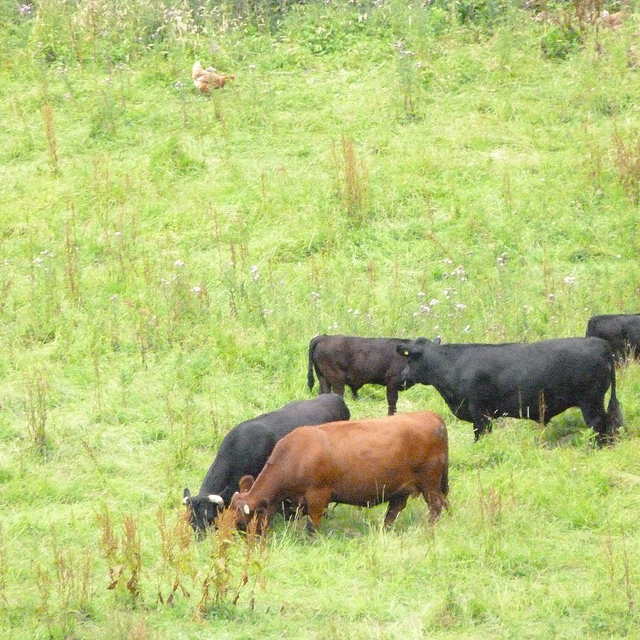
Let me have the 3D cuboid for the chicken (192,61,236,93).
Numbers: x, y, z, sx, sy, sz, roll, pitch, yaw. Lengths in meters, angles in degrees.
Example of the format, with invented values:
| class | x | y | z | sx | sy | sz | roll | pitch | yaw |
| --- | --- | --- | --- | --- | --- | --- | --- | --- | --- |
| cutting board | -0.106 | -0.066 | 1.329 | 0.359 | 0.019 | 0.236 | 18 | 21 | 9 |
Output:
| class | x | y | z | sx | sy | sz | roll | pitch | yaw |
| --- | --- | --- | --- | --- | --- | --- | --- | --- | --- |
| chicken | -1.446 | -3.214 | 18.847 | 0.633 | 0.554 | 0.222 | -3 | 12 | -34 |

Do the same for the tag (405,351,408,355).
| class | x | y | z | sx | sy | sz | roll | pitch | yaw |
| --- | --- | --- | --- | --- | --- | --- | --- | --- | --- |
| tag | 0.764 | 0.299 | 12.555 | 0.025 | 0.029 | 0.008 | 3 | 13 | 26 |

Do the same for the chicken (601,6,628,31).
| class | x | y | z | sx | sy | sz | roll | pitch | yaw |
| --- | --- | --- | --- | --- | --- | --- | --- | --- | --- |
| chicken | 4.256 | -4.346 | 20.439 | 0.346 | 0.245 | 0.530 | 2 | 15 | 23 |

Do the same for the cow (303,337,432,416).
| class | x | y | z | sx | sy | sz | roll | pitch | yaw |
| --- | --- | --- | --- | --- | --- | --- | --- | --- | --- |
| cow | 0.412 | 0.535 | 13.006 | 1.229 | 0.827 | 0.542 | -1 | 6 | 4 |

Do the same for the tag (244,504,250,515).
| class | x | y | z | sx | sy | sz | roll | pitch | yaw |
| --- | --- | --- | --- | --- | --- | --- | --- | --- | --- |
| tag | -0.559 | 1.437 | 10.628 | 0.033 | 0.081 | 0.072 | -2 | 13 | 4 |
